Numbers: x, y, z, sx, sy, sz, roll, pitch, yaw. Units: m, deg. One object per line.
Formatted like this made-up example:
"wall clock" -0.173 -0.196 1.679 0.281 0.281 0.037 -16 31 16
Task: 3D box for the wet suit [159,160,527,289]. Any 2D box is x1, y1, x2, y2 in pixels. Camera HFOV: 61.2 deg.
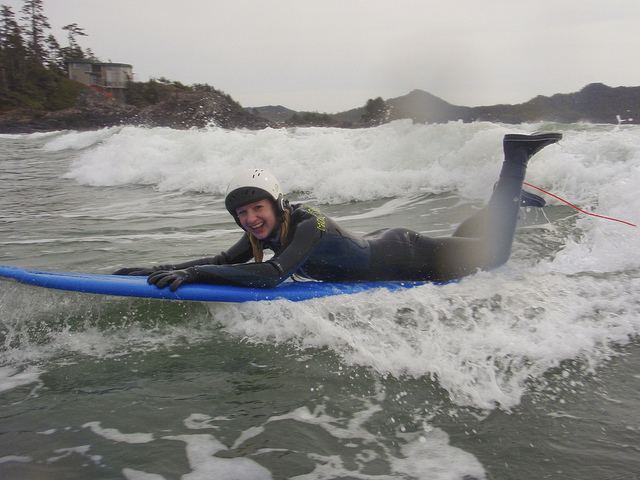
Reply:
"wet suit" 0.434 -0.037 5.162 3.555 0.605 1.164 0 -11 -18

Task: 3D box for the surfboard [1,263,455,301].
"surfboard" -0.877 0.375 4.800 3.738 0.248 0.513 0 5 -8
